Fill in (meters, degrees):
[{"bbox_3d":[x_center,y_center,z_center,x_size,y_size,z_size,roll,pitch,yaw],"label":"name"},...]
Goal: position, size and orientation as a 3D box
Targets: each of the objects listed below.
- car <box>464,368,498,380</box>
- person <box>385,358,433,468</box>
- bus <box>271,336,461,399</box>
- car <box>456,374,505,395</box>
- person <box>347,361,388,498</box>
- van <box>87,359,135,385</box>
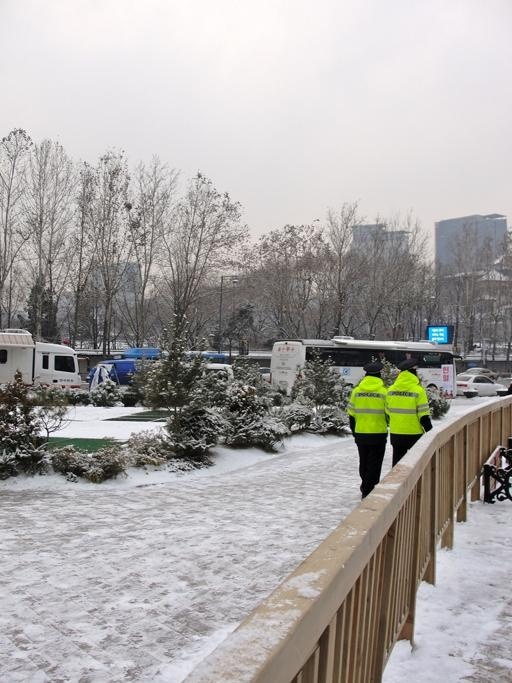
[{"bbox_3d":[16.739,2.336,47.549,2.093,0.634,0.853,-2,6,-18],"label":"car"},{"bbox_3d":[1.970,0.928,8.278,0.416,1.032,0.828,3,-2,-14],"label":"person"},{"bbox_3d":[6.029,1.300,32.560,10.566,3.090,2.683,2,6,-28],"label":"bus"},{"bbox_3d":[13.516,2.565,38.788,2.954,0.906,1.272,-1,2,-29],"label":"car"},{"bbox_3d":[1.511,1.203,8.664,0.548,1.417,0.696,3,-1,8],"label":"person"},{"bbox_3d":[-8.203,1.404,33.781,3.442,1.612,1.961,2,-1,-11],"label":"van"}]
